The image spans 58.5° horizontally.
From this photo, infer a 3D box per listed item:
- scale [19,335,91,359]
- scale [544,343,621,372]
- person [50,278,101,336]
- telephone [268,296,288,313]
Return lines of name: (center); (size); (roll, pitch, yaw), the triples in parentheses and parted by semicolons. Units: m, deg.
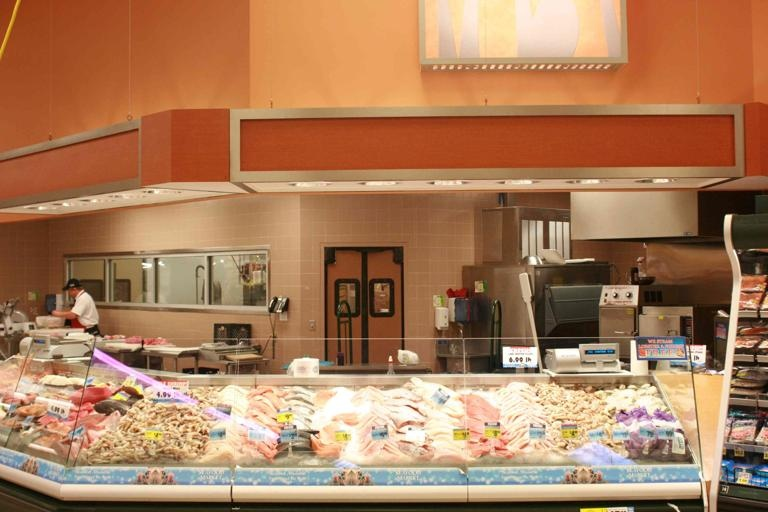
scale: (-2.442, 0.679, 5.076); (0.307, 0.105, 0.301); (2, 3, 40)
scale: (1.429, 0.740, 4.948); (0.533, 0.207, 0.047); (-2, -3, 1)
person: (-4.116, 0.679, 9.297); (0.496, 0.742, 0.928); (-1, -3, -35)
telephone: (-1.478, 0.681, 9.590); (0.307, 0.197, 0.150); (2, 2, 16)
